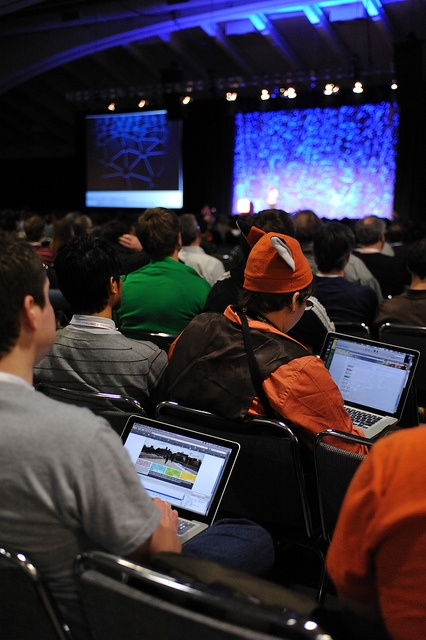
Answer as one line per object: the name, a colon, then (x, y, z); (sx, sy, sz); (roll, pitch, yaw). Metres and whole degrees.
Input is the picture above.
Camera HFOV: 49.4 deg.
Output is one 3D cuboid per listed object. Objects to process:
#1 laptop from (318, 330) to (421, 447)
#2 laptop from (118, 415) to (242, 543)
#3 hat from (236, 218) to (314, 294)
laptop: (0.617, 0.220, 1.871); (0.424, 0.374, 0.300); (18, 17, 25)
laptop: (-0.061, 0.417, 1.308); (0.314, 0.225, 0.258); (15, -13, 20)
hat: (0.216, -0.227, 1.571); (0.220, 0.212, 0.202); (-14, 25, -27)
